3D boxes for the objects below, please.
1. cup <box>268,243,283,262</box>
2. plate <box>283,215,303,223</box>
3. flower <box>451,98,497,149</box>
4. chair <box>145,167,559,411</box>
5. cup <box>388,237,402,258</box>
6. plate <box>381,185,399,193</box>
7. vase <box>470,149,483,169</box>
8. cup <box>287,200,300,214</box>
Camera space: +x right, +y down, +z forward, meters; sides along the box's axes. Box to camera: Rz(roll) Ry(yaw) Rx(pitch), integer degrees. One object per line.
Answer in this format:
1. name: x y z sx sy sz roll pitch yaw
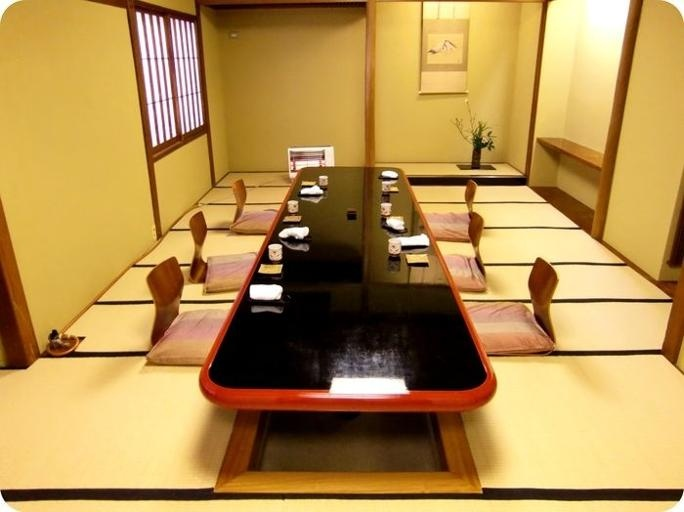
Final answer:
1. cup: -0.450 -0.020 3.346 0.109 0.107 0.108 2 30 -1
2. plate: -0.411 -0.306 4.012 0.091 0.024 0.091 3 31 7
3. flower: 2.178 -2.228 8.002 0.534 0.851 0.622 8 55 33
4. chair: 0.063 0.160 3.347 1.415 0.834 2.440 1 14 2
5. cup: 0.361 -0.061 3.379 0.098 0.127 0.123 1 28 2
6. plate: 0.473 -0.653 4.795 0.111 0.070 0.112 0 26 1
7. vase: 2.120 -1.553 7.702 0.123 0.319 0.220 3 14 9
8. cup: -0.413 -0.424 4.203 0.109 0.097 0.110 0 30 0
